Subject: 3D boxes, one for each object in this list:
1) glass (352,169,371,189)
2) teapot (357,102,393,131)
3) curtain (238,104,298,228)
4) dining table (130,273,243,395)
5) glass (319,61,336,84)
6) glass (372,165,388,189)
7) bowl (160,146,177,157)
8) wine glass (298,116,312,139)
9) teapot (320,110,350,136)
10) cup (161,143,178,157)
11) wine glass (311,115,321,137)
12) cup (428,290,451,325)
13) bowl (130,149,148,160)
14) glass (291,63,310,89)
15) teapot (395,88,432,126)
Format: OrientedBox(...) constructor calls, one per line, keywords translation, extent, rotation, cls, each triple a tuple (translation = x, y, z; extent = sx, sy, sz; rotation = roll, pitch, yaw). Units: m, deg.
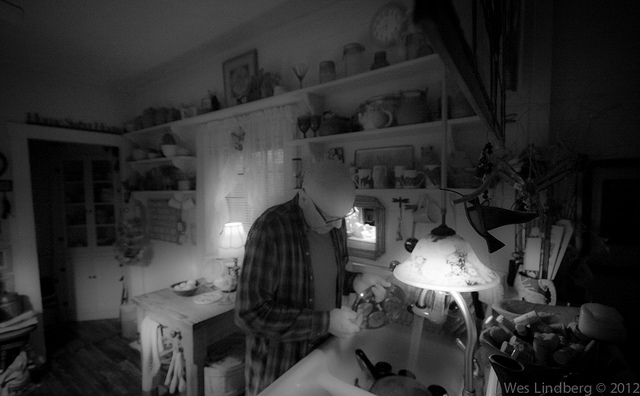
OrientedBox(translation=(0.445, -0.185, 4.598), extent=(0.231, 0.198, 0.139), rotation=(-3, 0, 11), cls="glass")
OrientedBox(translation=(0.555, -0.790, 4.466), extent=(0.330, 0.295, 0.208), rotation=(1, 4, 32), cls="teapot")
OrientedBox(translation=(-0.589, -0.292, 5.318), extent=(0.892, 1.579, 0.134), rotation=(-5, -8, 26), cls="curtain")
OrientedBox(translation=(-1.405, 1.543, 5.106), extent=(0.965, 1.315, 0.803), rotation=(-4, 1, 41), cls="dining table")
OrientedBox(translation=(0.059, -1.271, 4.734), extent=(0.133, 0.214, 0.246), rotation=(-6, 1, -40), cls="glass")
OrientedBox(translation=(0.604, -0.209, 4.576), extent=(0.146, 0.222, 0.174), rotation=(-5, 1, 18), cls="glass")
OrientedBox(translation=(-1.918, -0.587, 5.880), extent=(0.144, 0.099, 0.139), rotation=(-2, -2, 0), cls="bowl")
OrientedBox(translation=(-0.150, -0.737, 4.853), extent=(0.139, 0.220, 0.237), rotation=(-5, 1, -6), cls="wine glass")
OrientedBox(translation=(0.171, -0.759, 4.705), extent=(0.279, 0.237, 0.270), rotation=(-3, 8, 10), cls="teapot")
OrientedBox(translation=(-1.914, -0.616, 5.937), extent=(0.166, 0.116, 0.159), rotation=(-1, -4, 0), cls="cup")
OrientedBox(translation=(-0.037, -0.752, 4.755), extent=(0.103, 0.206, 0.060), rotation=(-5, 1, 32), cls="wine glass")
OrientedBox(translation=(1.042, 0.940, 4.010), extent=(0.198, 0.285, 0.311), rotation=(-5, 1, 10), cls="cup")
OrientedBox(translation=(-2.451, -0.598, 6.307), extent=(0.329, 0.146, 0.081), rotation=(-4, 1, 36), cls="bowl")
OrientedBox(translation=(-0.187, -1.320, 4.936), extent=(0.160, 0.277, 0.294), rotation=(-5, 1, 1), cls="glass")
OrientedBox(translation=(0.901, -0.879, 4.408), extent=(0.322, 0.334, 0.239), rotation=(-5, 1, 10), cls="teapot")
